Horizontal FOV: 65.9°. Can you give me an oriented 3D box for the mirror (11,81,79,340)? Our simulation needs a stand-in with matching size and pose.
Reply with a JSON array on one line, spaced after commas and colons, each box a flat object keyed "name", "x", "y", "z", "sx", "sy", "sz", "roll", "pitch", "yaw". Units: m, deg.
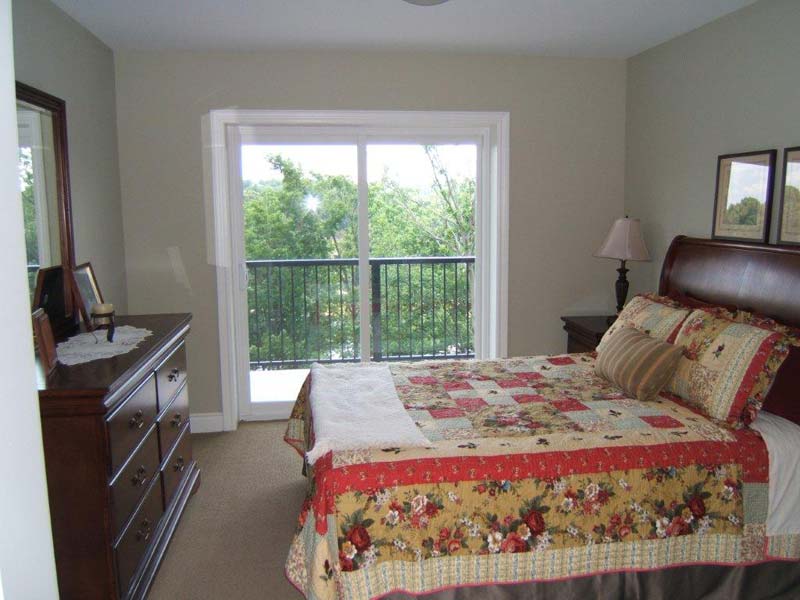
[{"name": "mirror", "x": -1.857, "y": -0.478, "z": 3.282, "sx": 0.248, "sy": 1.281, "sz": 0.749, "roll": -7, "pitch": 9, "yaw": -26}]
